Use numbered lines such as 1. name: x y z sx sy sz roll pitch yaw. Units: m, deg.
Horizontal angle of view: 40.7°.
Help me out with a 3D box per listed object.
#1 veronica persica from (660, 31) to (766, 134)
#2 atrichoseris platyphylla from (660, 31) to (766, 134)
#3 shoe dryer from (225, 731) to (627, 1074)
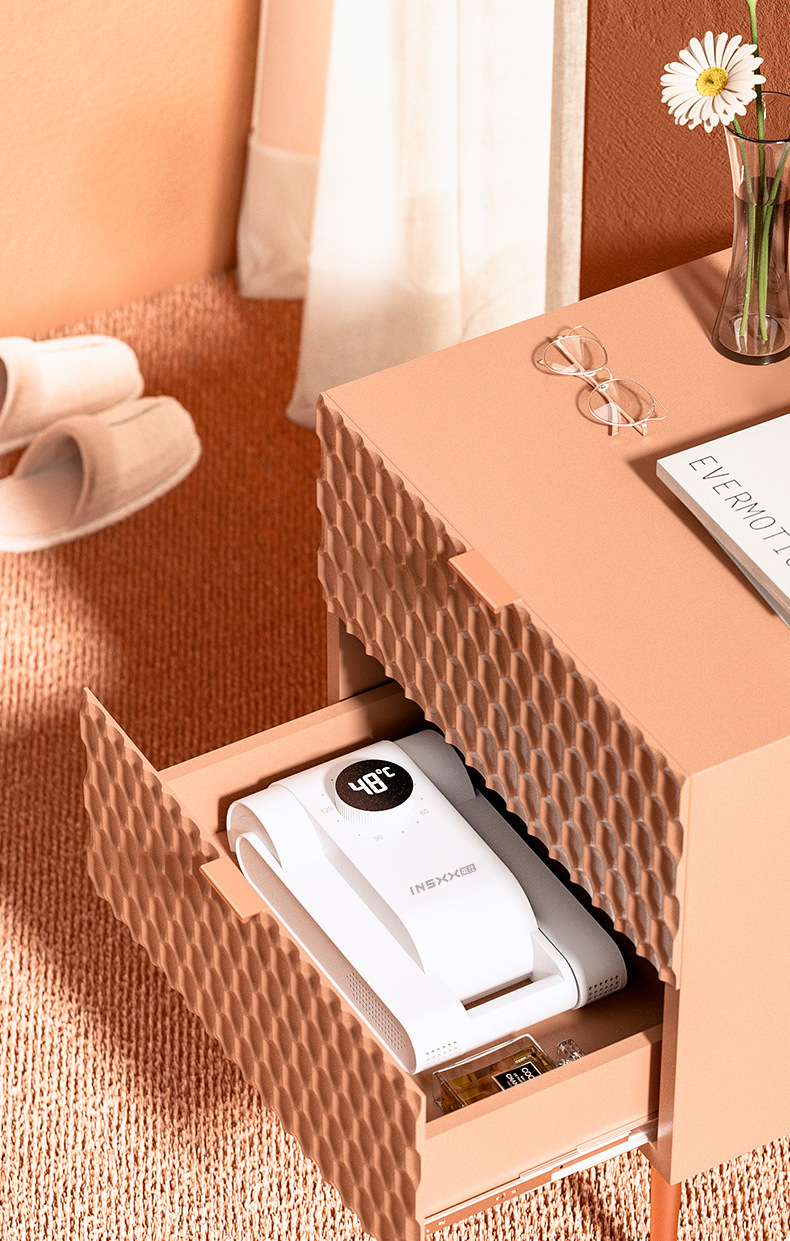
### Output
1. veronica persica: 0.208 -0.357 0.709 0.057 0.060 0.155 4 24 12
2. atrichoseris platyphylla: 0.208 -0.357 0.709 0.057 0.060 0.155 4 24 12
3. shoe dryer: 0.015 0.194 0.753 0.187 0.079 0.258 -18 44 -24
